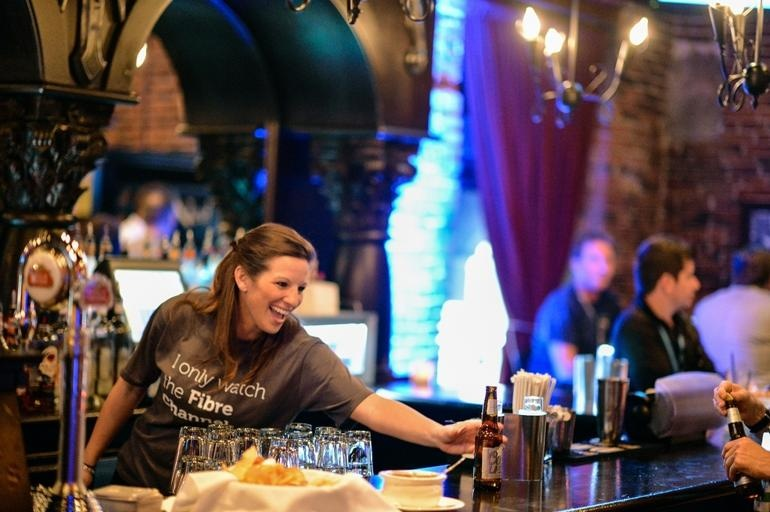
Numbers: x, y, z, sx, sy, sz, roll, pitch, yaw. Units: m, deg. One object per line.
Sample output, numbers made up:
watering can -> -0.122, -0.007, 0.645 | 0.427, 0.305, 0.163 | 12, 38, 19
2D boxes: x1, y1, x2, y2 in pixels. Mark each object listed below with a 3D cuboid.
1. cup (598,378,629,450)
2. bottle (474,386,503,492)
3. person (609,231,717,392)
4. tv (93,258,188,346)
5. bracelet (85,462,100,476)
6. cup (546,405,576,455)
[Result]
cup -> 1.157, 0.785, 4.214 | 0.141, 0.336, 0.073 | 1, -6, 3
bottle -> 0.440, 0.761, 3.512 | 0.116, 0.429, 0.235 | 1, -6, 7
person -> 1.546, 0.307, 4.617 | 0.512, 0.874, 0.494 | 0, -6, 14
tv -> -1.437, 0.221, 4.879 | 0.149, 0.498, 0.542 | -18, -10, 33
bracelet -> -1.348, 0.982, 3.849 | 0.050, 0.044, 0.058 | 3, -43, 6
cup -> 0.820, 0.825, 3.921 | 0.176, 0.207, 0.213 | 0, -6, 2
